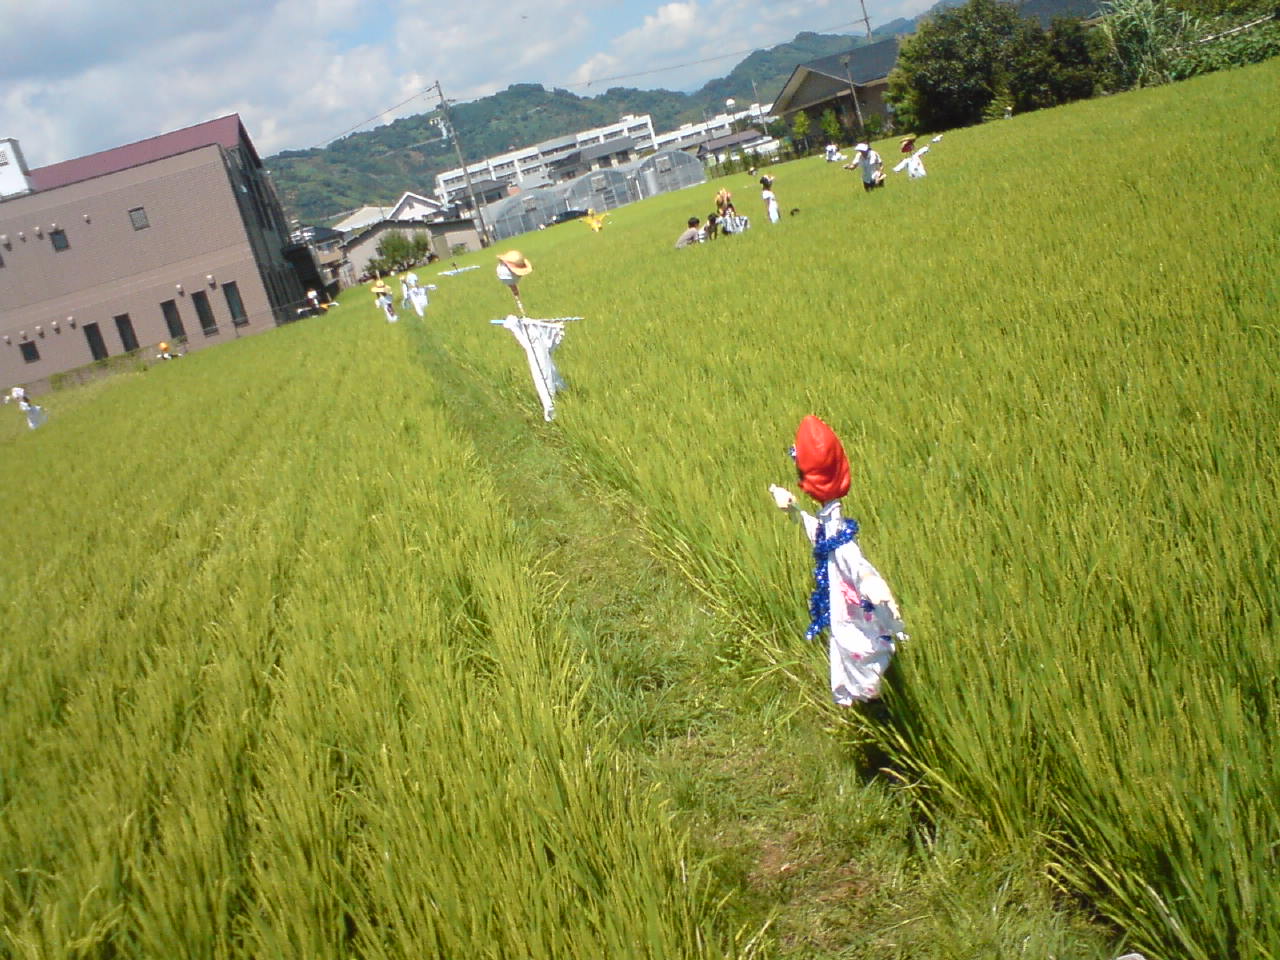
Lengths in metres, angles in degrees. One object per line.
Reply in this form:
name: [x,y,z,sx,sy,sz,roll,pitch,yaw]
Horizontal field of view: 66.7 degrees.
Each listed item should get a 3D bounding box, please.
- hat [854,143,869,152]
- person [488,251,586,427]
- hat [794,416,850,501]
hat: [4.811,-7.085,20.915,0.192,0.135,0.361,-14,21,10]
person: [-0.851,-1.228,8.083,0.571,1.209,0.745,-24,-11,18]
hat: [0.622,-0.065,3.401,0.182,0.296,0.100,-20,5,-9]
